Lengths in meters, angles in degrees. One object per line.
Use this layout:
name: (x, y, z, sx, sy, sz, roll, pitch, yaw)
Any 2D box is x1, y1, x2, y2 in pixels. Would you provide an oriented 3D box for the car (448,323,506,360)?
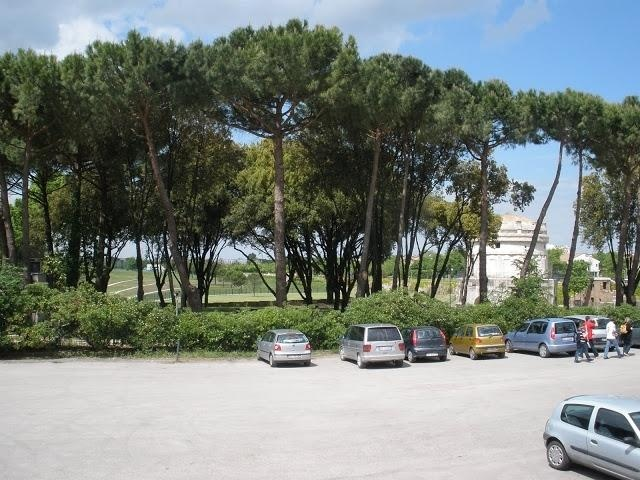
car: (8.266, 5.359, 36.121, 1.466, 1.354, 2.640, 0, 0, -8)

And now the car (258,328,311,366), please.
car: (-1.926, 5.300, 33.608, 1.387, 1.202, 2.467, 1, -1, -14)

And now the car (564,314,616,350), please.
car: (15.573, 5.403, 38.615, 1.883, 1.956, 3.442, -1, 3, -15)

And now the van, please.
van: (2.373, 5.112, 33.565, 1.607, 1.382, 3.013, 1, 0, -12)

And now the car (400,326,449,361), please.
car: (5.284, 5.285, 34.363, 1.299, 1.177, 2.409, -1, 0, -6)
